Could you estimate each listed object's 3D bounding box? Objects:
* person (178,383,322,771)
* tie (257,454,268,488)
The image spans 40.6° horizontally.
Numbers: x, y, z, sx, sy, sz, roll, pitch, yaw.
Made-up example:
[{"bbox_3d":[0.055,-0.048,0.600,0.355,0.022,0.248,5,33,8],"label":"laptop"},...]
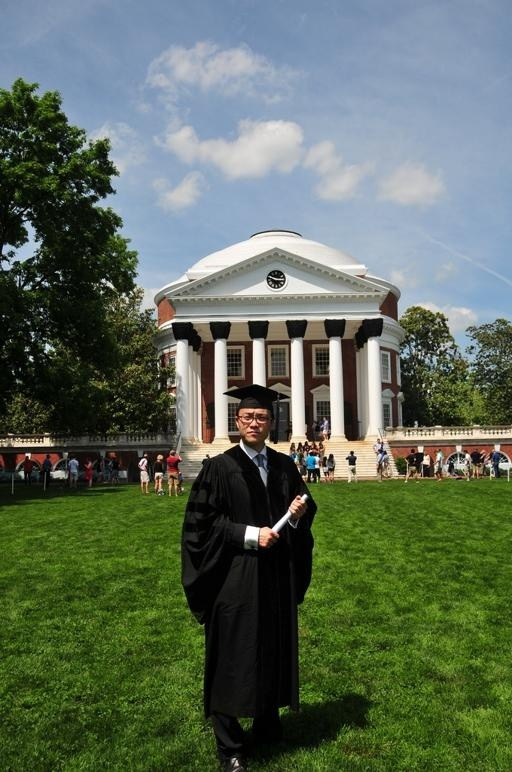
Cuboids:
[{"bbox_3d":[-0.019,1.100,4.381,0.857,2.241,0.585,-2,-5,-37],"label":"person"},{"bbox_3d":[0.044,0.543,4.597,0.044,0.266,0.037,-17,-14,21],"label":"tie"}]
